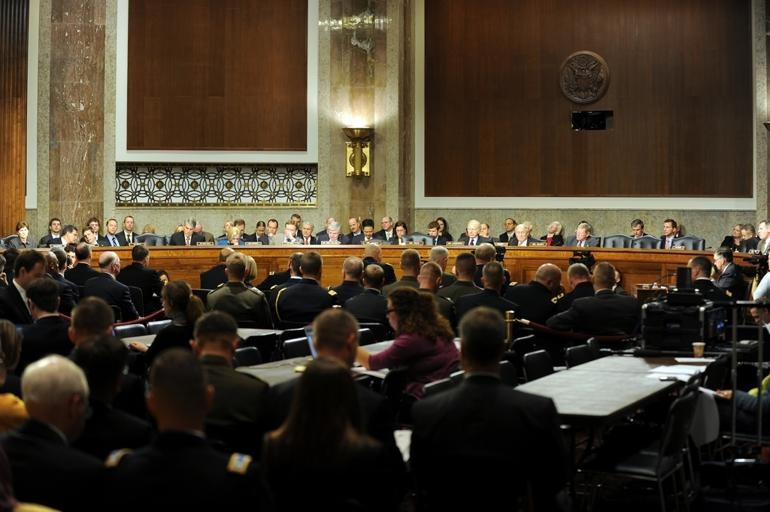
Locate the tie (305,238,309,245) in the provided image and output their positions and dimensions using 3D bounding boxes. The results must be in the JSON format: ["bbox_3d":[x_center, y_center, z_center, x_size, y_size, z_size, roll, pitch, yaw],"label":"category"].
[{"bbox_3d":[-1.457,-0.270,15.460,0.087,0.125,0.030,-2,-10,-3],"label":"tie"}]

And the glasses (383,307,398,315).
[{"bbox_3d":[0.040,0.467,6.898,0.096,0.031,0.098,5,1,9],"label":"glasses"}]

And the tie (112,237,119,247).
[{"bbox_3d":[-4.973,-0.249,15.082,0.092,0.156,0.036,7,-44,-37],"label":"tie"}]

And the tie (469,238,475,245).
[{"bbox_3d":[1.677,-0.269,15.680,0.097,0.138,0.049,-7,-11,28],"label":"tie"}]

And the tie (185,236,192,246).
[{"bbox_3d":[-3.690,-0.276,15.424,0.177,0.137,0.076,-8,-23,-3],"label":"tie"}]

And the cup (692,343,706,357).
[{"bbox_3d":[2.811,0.832,7.308,0.122,0.129,0.125,0,6,0],"label":"cup"}]
